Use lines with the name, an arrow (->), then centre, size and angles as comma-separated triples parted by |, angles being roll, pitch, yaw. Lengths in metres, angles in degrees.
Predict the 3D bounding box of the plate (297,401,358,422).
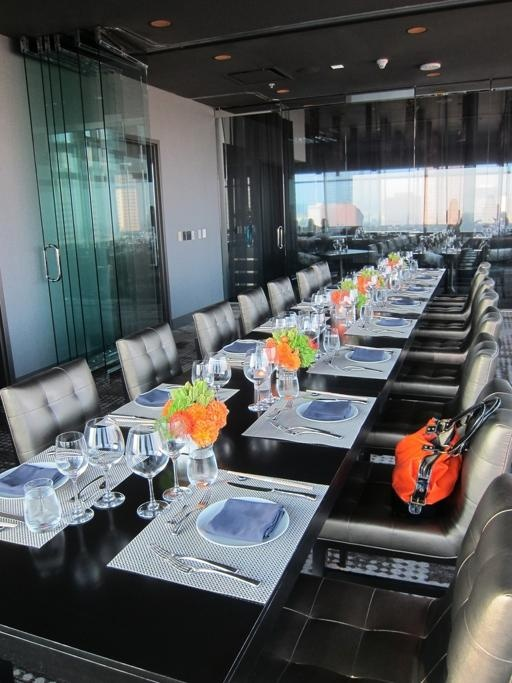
plate -> 0.257, 0.244, 1.662 | 0.097, 0.025, 0.099 | 5, 16, 23

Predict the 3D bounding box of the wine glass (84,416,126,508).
wine glass -> -0.363, 0.287, 1.132 | 0.095, 0.200, 0.089 | -8, 8, -41

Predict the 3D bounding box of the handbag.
handbag -> 0.620, 0.343, 1.579 | 0.184, 0.402, 0.360 | 22, 33, 15

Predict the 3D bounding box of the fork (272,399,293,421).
fork -> 0.097, 0.233, 1.743 | 0.029, 0.028, 0.195 | 3, 20, 14

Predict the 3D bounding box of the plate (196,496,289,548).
plate -> -0.026, 0.382, 1.010 | 0.175, 0.037, 0.182 | -3, 10, -16
